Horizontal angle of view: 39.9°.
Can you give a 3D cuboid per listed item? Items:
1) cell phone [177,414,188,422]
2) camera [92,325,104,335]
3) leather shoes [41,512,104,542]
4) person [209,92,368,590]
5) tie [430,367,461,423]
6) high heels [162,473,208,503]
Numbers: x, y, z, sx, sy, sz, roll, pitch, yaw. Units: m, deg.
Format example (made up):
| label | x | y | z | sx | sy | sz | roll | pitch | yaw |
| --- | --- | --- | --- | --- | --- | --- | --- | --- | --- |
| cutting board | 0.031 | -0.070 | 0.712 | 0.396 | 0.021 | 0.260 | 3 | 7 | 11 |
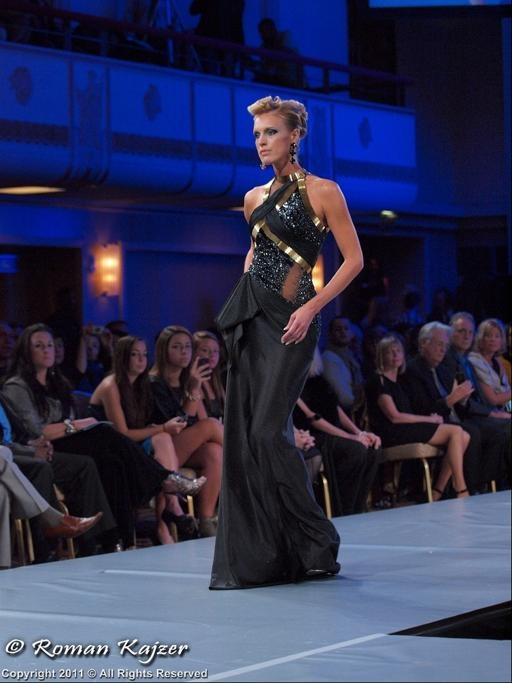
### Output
| label | x | y | z | sx | sy | sz | roll | pitch | yaw |
| --- | --- | --- | --- | --- | --- | --- | --- | --- | --- |
| cell phone | -0.398 | 0.412 | 3.764 | 0.037 | 0.031 | 0.111 | 20 | -2 | 2 |
| camera | -0.846 | -0.062 | 3.770 | 0.043 | 0.022 | 0.051 | -10 | 33 | -20 |
| leather shoes | -0.798 | 0.788 | 3.083 | 0.275 | 0.105 | 0.086 | -11 | 10 | -24 |
| person | 0.088 | -0.033 | 2.270 | 0.500 | 1.556 | 0.308 | 0 | -3 | -6 |
| tie | 1.391 | 0.390 | 5.101 | 0.323 | 0.353 | 0.143 | 2 | -9 | -6 |
| high heels | -0.396 | 0.725 | 3.513 | 0.281 | 0.102 | 0.085 | -6 | 20 | -15 |
